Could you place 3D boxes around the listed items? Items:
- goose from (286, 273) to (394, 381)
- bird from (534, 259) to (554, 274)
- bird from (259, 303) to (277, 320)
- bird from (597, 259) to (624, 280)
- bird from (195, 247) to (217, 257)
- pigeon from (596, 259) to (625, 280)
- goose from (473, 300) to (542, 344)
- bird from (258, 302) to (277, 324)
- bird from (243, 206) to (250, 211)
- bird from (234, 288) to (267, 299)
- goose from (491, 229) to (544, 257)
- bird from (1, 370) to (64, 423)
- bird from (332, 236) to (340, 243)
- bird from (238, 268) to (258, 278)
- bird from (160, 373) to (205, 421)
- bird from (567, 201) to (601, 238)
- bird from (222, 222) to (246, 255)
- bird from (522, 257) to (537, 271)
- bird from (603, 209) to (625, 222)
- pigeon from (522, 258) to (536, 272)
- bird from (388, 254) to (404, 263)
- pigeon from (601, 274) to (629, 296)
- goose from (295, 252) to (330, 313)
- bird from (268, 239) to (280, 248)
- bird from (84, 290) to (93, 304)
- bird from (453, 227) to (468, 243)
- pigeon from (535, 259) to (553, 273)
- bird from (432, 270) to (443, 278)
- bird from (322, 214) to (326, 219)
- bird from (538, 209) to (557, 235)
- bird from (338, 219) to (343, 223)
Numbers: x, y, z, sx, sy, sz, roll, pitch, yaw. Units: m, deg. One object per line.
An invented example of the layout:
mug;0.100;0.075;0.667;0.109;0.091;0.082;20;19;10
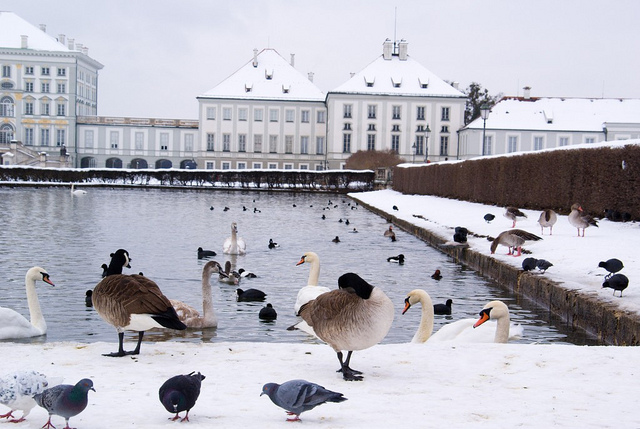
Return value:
goose;0.643;2.137;24.335;2.574;2.256;1.446;-3;-2;31
bird;5.808;1.328;28.795;0.531;0.348;0.264;1;2;24
bird;-1.252;2.407;27.206;0.433;0.277;0.303;1;0;-3
bird;7.133;1.256;27.087;0.560;0.327;0.285;-1;-2;34
bird;-3.374;1.136;33.106;0.459;0.260;0.231;9;-7;-20
pigeon;7.167;1.244;27.074;0.508;0.330;0.283;-5;-4;16
goose;3.900;2.420;24.987;0.796;0.834;0.602;1;0;7
bird;-1.228;2.432;27.146;0.502;0.373;0.691;1;0;24
bird;-3.324;-0.248;50.392;0.073;0.199;0.200;26;32;16
bird;-1.799;2.048;28.387;0.682;0.273;0.289;-3;-6;11
goose;5.549;0.798;31.320;1.589;0.684;0.581;-13;-7;31
bird;-6.006;3.686;22.634;1.137;1.050;1.584;0;3;-23
bird;0.575;0.848;37.254;0.171;0.157;0.308;0;-8;0
bird;-1.912;1.644;30.552;0.590;0.286;0.198;13;9;31
bird;-2.787;3.592;22.488;0.502;0.663;1.089;2;40;6
bird;7.763;0.149;32.320;1.184;0.950;0.637;0;0;-34
bird;-2.702;0.915;34.207;0.493;0.982;1.257;0;-2;-14
bird;5.480;1.305;28.963;0.371;0.314;0.314;-9;-9;-2
bird;9.155;0.031;34.244;0.246;0.270;0.610;16;-4;22
pigeon;5.470;1.313;28.935;0.247;0.320;0.317;3;5;-30
bird;2.316;1.327;33.196;0.464;0.192;0.268;1;0;18
pigeon;7.086;1.687;26.450;0.563;0.466;0.327;1;0;14
goose;-0.040;1.690;26.944;0.654;1.376;1.633;10;-12;-30
bird;-1.436;0.933;35.312;0.341;0.195;0.406;1;0;-3
bird;-5.766;2.055;27.673;0.224;0.320;0.230;3;-32;-32
bird;4.293;0.640;33.658;0.347;0.389;0.407;1;0;10
pigeon;5.794;1.321;28.678;0.457;0.298;0.236;2;6;-20
bird;3.320;1.671;31.054;0.207;0.127;0.204;-10;13;-29
bird;0.187;0.109;45.564;0.174;0.137;0.331;2;6;5
bird;6.719;0.114;32.393;0.315;0.568;0.621;1;0;-21
bird;0.842;0.258;43.973;0.166;0.165;0.155;0;-2;7
